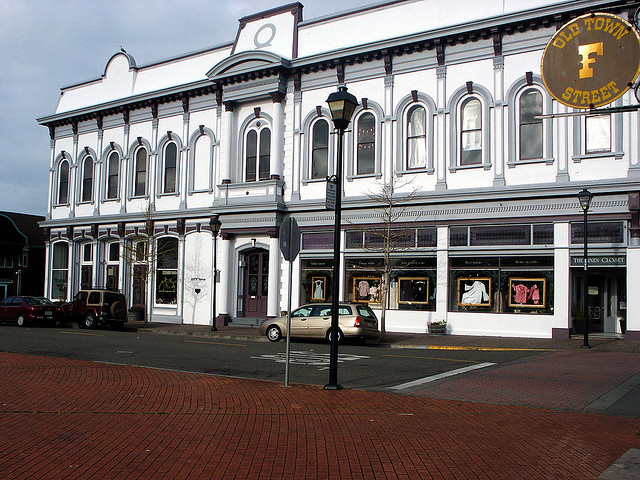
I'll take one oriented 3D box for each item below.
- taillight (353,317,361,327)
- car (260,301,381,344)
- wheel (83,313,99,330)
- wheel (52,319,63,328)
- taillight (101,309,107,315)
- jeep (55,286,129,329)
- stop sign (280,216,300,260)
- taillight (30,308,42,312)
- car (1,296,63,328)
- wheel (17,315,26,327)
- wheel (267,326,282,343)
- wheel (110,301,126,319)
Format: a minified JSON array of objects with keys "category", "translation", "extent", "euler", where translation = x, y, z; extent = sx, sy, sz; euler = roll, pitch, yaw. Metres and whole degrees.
[{"category":"taillight","translation":[1.320,2.866,25.953],"extent":[0.257,0.330,0.103],"euler":[2,-8,-9]},{"category":"car","translation":[-0.188,2.972,27.448],"extent":[3.266,1.711,4.488],"euler":[5,-10,-29]},{"category":"wheel","translation":[-10.029,3.537,32.321],"extent":[0.852,0.706,0.361],"euler":[-8,-11,44]},{"category":"wheel","translation":[-11.921,3.745,33.609],"extent":[0.486,0.116,0.470],"euler":[-2,-21,-1]},{"category":"taillight","translation":[-9.367,3.091,32.041],"extent":[0.254,0.250,0.180],"euler":[0,0,-10]},{"category":"jeep","translation":[-9.931,3.009,32.414],"extent":[3.624,1.678,1.551],"euler":[-1,-3,27]},{"category":"stop sign","translation":[-0.667,-0.064,17.017],"extent":[0.473,1.053,0.405],"euler":[2,-8,-13]},{"category":"taillight","translation":[-12.558,3.072,32.662],"extent":[0.486,0.171,0.101],"euler":[2,-8,-11]},{"category":"car","translation":[-13.120,3.192,33.410],"extent":[2.892,0.918,1.373],"euler":[1,-2,38]},{"category":"wheel","translation":[-13.377,3.596,33.126],"extent":[0.304,0.509,0.664],"euler":[6,-10,-34]},{"category":"wheel","translation":[-1.654,3.409,27.041],"extent":[0.563,0.581,0.210],"euler":[-6,-3,42]},{"category":"wheel","translation":[-8.848,3.042,32.242],"extent":[0.202,0.649,0.648],"euler":[-6,-17,27]}]
